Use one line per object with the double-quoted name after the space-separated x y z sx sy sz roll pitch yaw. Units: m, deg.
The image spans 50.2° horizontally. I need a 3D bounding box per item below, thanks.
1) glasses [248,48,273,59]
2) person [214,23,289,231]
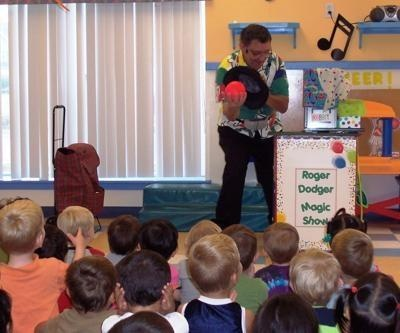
0.405 -0.770 2.923 0.155 0.049 0.076 -1 6 -16 "glasses"
0.328 -0.261 3.094 0.454 1.443 0.749 4 6 38 "person"
